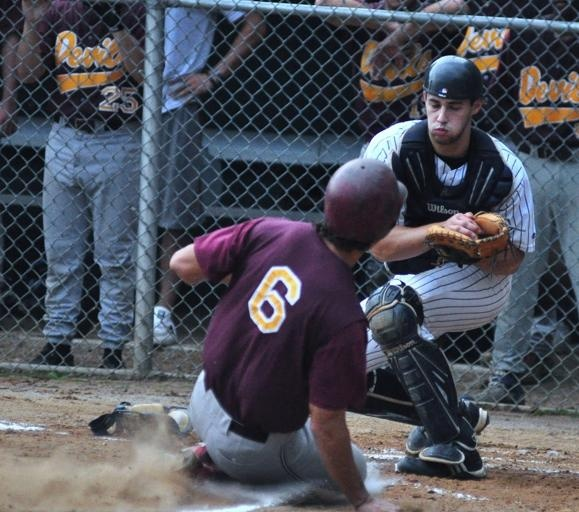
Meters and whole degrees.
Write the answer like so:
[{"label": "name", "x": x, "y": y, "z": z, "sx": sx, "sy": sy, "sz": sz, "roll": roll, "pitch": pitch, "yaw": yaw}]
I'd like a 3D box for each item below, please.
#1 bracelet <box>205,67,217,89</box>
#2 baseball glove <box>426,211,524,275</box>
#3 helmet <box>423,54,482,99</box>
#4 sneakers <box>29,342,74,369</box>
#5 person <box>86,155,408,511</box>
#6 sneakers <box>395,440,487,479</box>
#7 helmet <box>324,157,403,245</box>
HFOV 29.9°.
[{"label": "bracelet", "x": -0.435, "y": -1.018, "z": 6.147, "sx": 0.028, "sy": 0.075, "sz": 0.098, "roll": 40, "pitch": 25, "yaw": -16}, {"label": "baseball glove", "x": 0.766, "y": -0.074, "z": 4.521, "sx": 0.313, "sy": 0.123, "sz": 0.227, "roll": 20, "pitch": 16, "yaw": 6}, {"label": "helmet", "x": 0.696, "y": -0.751, "z": 4.646, "sx": 0.227, "sy": 0.132, "sz": 0.199, "roll": 17, "pitch": 35, "yaw": -7}, {"label": "sneakers", "x": -1.254, "y": 0.538, "z": 5.814, "sx": 0.219, "sy": 0.123, "sz": 0.257, "roll": 1, "pitch": -9, "yaw": -8}, {"label": "person", "x": -0.015, "y": 0.285, "z": 4.041, "sx": 0.887, "sy": 1.287, "sz": 0.421, "roll": 2, "pitch": 12, "yaw": 10}, {"label": "sneakers", "x": 0.648, "y": 0.870, "z": 4.625, "sx": 0.426, "sy": 0.151, "sz": 0.131, "roll": 8, "pitch": 5, "yaw": 4}, {"label": "helmet", "x": 0.304, "y": -0.186, "z": 4.005, "sx": 0.275, "sy": 0.267, "sz": 0.328, "roll": 20, "pitch": 40, "yaw": 6}]
